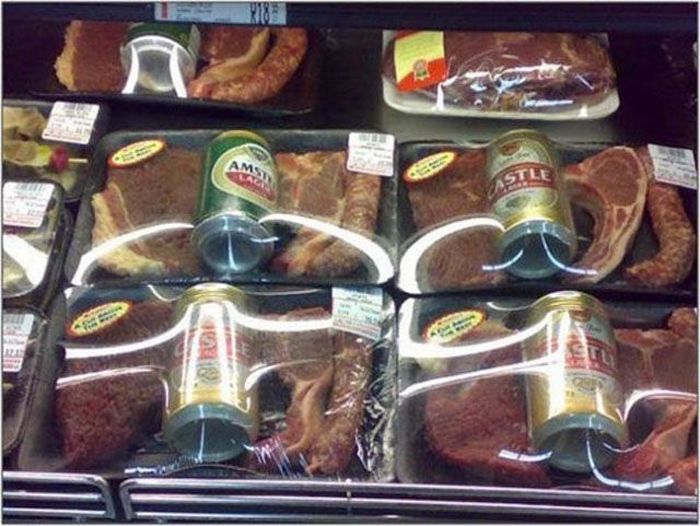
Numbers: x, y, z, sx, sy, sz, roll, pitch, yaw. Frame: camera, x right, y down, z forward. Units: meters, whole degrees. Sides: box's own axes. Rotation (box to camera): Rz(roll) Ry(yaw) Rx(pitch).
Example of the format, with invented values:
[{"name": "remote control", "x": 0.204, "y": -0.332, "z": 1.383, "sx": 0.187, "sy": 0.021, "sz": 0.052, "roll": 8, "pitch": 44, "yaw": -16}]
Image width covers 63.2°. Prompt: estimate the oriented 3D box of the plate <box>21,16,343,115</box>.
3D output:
[{"name": "plate", "x": -0.669, "y": -0.764, "z": 2.234, "sx": 0.826, "sy": 0.109, "sz": 0.511, "roll": 1, "pitch": 55, "yaw": 2}]
